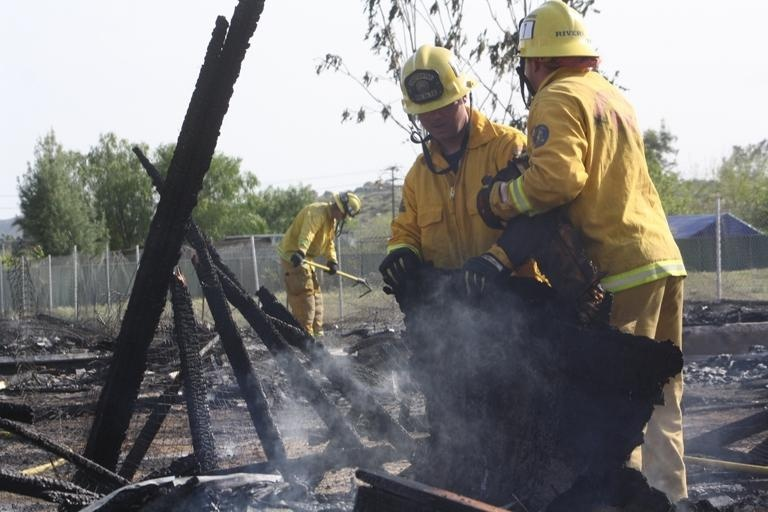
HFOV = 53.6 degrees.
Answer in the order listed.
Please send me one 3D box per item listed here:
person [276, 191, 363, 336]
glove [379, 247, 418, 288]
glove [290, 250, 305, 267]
[{"bbox_3d":[-0.910,0.106,10.912,1.231,2.061,1.158,1,-3,-31],"label":"person"},{"bbox_3d":[0.180,0.048,6.184,0.127,0.416,0.414,12,-9,-28],"label":"glove"},{"bbox_3d":[-1.162,0.046,10.343,0.163,0.213,0.105,5,10,22],"label":"glove"}]
